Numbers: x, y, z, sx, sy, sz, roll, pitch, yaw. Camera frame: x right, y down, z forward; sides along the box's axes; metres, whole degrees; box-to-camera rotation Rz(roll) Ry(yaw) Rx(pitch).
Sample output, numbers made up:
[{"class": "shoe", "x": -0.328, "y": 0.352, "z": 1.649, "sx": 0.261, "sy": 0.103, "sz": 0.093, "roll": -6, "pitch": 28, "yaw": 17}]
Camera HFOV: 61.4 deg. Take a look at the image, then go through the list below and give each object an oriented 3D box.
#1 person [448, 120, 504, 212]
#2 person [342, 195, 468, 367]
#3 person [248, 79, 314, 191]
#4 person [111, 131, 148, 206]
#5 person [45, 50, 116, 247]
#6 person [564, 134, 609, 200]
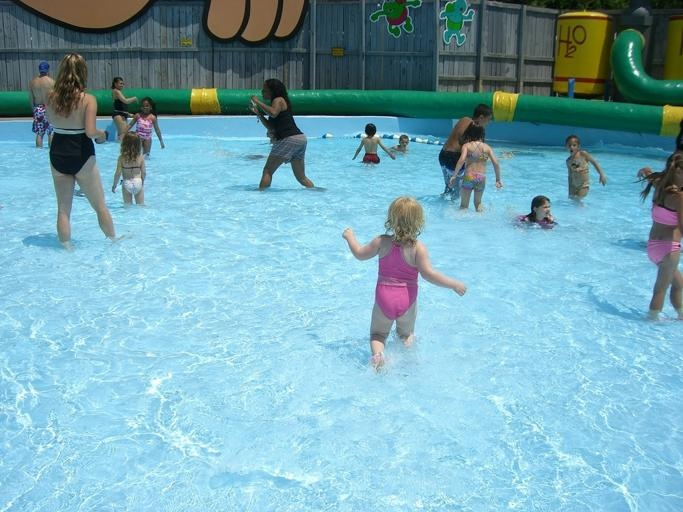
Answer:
[{"class": "person", "x": 1.729, "y": -1.135, "z": 7.474, "sx": 0.624, "sy": 1.146, "sz": 0.974, "roll": 4, "pitch": 17, "yaw": 10}, {"class": "person", "x": 0.378, "y": 0.175, "z": 3.939, "sx": 0.739, "sy": 1.151, "sz": 0.435, "roll": 1, "pitch": 16, "yaw": 1}, {"class": "person", "x": -0.885, "y": -1.771, "z": 8.477, "sx": 0.825, "sy": 1.614, "sz": 0.912, "roll": -1, "pitch": 17, "yaw": -8}, {"class": "person", "x": -2.779, "y": -0.965, "z": 7.558, "sx": 0.416, "sy": 1.369, "sz": 0.373, "roll": -18, "pitch": 42, "yaw": -39}, {"class": "person", "x": -2.559, "y": -0.996, "z": 5.653, "sx": 0.553, "sy": 1.906, "sz": 0.617, "roll": -7, "pitch": 18, "yaw": -26}, {"class": "person", "x": 3.423, "y": -1.052, "z": 8.118, "sx": 0.532, "sy": 1.353, "sz": 0.414, "roll": 1, "pitch": -9, "yaw": 7}]
